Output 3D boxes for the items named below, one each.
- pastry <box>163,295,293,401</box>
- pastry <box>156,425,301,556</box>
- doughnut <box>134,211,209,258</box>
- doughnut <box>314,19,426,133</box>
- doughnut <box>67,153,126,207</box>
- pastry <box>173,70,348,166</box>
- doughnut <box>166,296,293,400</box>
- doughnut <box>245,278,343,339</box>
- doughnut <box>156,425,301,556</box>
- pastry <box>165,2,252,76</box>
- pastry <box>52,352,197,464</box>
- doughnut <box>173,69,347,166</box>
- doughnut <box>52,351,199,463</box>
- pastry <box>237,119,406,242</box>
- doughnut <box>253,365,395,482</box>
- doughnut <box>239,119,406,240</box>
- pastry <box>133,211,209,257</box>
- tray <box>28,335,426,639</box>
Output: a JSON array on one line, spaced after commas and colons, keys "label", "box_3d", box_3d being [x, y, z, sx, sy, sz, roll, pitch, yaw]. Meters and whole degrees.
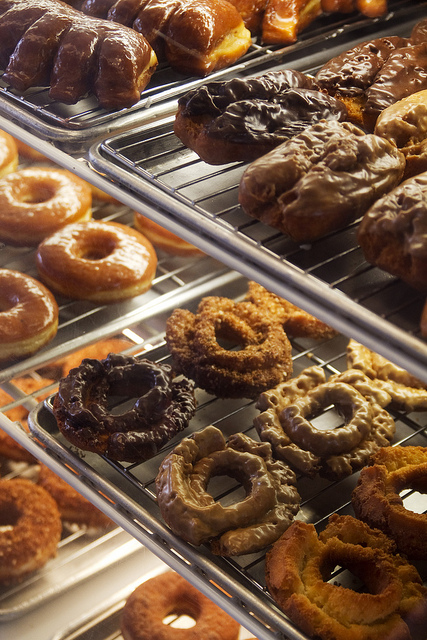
[{"label": "pastry", "box_3d": [0.020, 0.043, 1.116, 0.221, 0.079, 0.196, 29, 46, 26]}, {"label": "pastry", "box_3d": [0.019, 0.239, 0.824, 0.188, 0.071, 0.199, 4, 34, -7]}, {"label": "doughnut", "box_3d": [-0.105, -0.182, 1.347, 0.123, 0.040, 0.125, -5, 26, -46]}, {"label": "doughnut", "box_3d": [0.276, -0.393, 0.944, 0.240, 0.078, 0.167, -39, 49, -23]}, {"label": "doughnut", "box_3d": [-0.270, -0.307, 1.400, 0.127, 0.033, 0.130, 37, 21, 31]}, {"label": "pastry", "box_3d": [0.063, -0.284, 0.802, 0.207, 0.066, 0.148, -21, 44, -18]}, {"label": "doughnut", "box_3d": [0.020, 0.046, 1.117, 0.218, 0.077, 0.196, 36, 47, 28]}, {"label": "doughnut", "box_3d": [0.168, -0.052, 1.224, 0.145, 0.142, 0.041, 26, 82, 34]}, {"label": "doughnut", "box_3d": [0.023, 0.229, 0.825, 0.207, 0.073, 0.185, -21, 31, -35]}, {"label": "pastry", "box_3d": [-0.019, -0.493, 1.110, 0.139, 0.098, 0.147, 33, 55, 25]}, {"label": "pastry", "box_3d": [-0.144, 0.135, 0.996, 0.235, 0.077, 0.248, 11, 29, 9]}, {"label": "doughnut", "box_3d": [0.078, -0.295, 0.848, 0.258, 0.085, 0.192, 5, 38, 42]}, {"label": "doughnut", "box_3d": [-0.145, 0.139, 0.989, 0.232, 0.074, 0.248, 3, 30, -5]}, {"label": "pastry", "box_3d": [0.124, -0.173, 0.686, 0.173, 0.065, 0.122, -31, 54, -18]}, {"label": "doughnut", "box_3d": [0.184, 0.164, 0.982, 0.220, 0.060, 0.201, -33, 47, -25]}, {"label": "doughnut", "box_3d": [0.139, -0.183, 0.724, 0.158, 0.078, 0.221, 27, 50, 30]}, {"label": "pastry", "box_3d": [-0.097, -0.191, 1.362, 0.149, 0.048, 0.147, 27, 23, 35]}, {"label": "tray", "box_3d": [-0.055, 0.246, 0.849, 0.394, 0.024, 0.338, -28, 48, -36]}]
